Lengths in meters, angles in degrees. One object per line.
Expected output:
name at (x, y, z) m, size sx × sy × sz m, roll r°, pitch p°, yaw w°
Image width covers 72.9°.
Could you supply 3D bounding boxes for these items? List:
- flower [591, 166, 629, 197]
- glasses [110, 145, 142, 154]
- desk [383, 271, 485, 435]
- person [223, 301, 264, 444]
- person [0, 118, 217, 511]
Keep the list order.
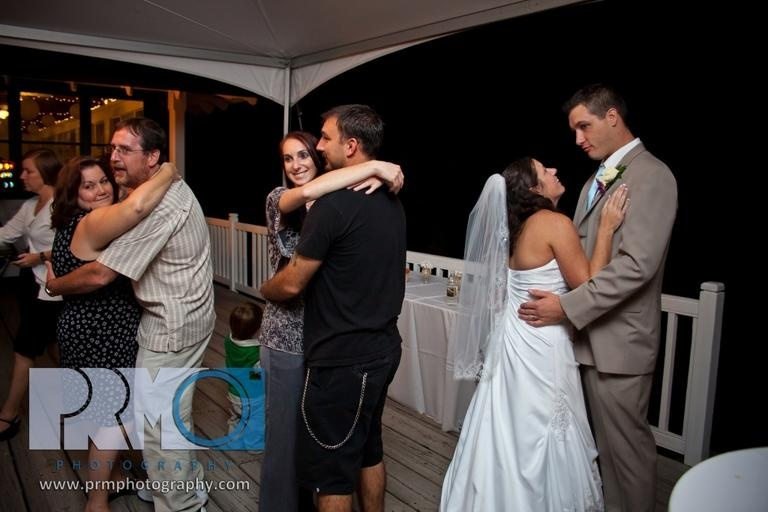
flower at (1.345, -0.454, 3.066) m, size 0.145 × 0.071 × 0.151 m, roll -39°, pitch -28°, yaw -15°
glasses at (-1.511, -0.614, 3.011) m, size 0.204 × 0.060 × 0.058 m, roll 1°, pitch 4°, yaw 13°
desk at (0.390, 0.866, 4.286) m, size 0.926 × 0.601 × 0.907 m, roll -5°, pitch 11°, yaw -40°
person at (-1.045, 0.946, 4.163) m, size 0.363 × 1.217 × 0.340 m, roll -15°, pitch 28°, yaw -42°
person at (-1.444, 0.430, 3.152) m, size 0.774 × 2.476 × 0.401 m, roll -1°, pitch 4°, yaw -20°
